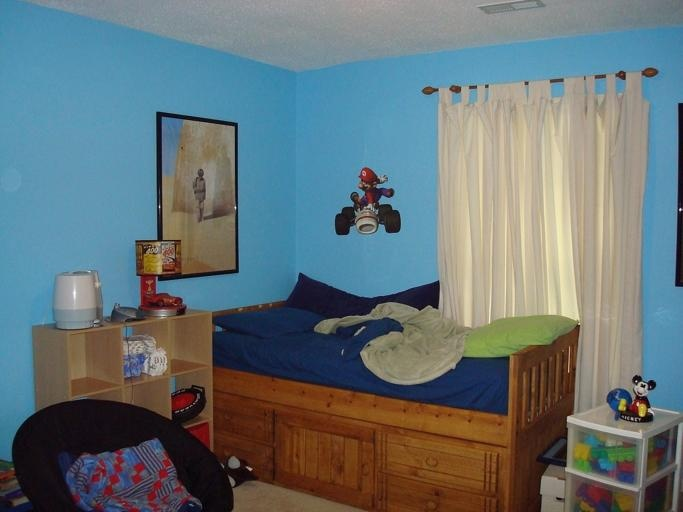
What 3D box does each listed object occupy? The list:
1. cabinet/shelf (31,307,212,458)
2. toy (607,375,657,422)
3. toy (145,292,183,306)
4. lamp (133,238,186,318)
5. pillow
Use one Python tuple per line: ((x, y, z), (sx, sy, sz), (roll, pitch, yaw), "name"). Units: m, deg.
((-1.345, 0.752, 3.551), (0.305, 0.860, 0.962), (2, 4, 39), "cabinet/shelf")
((1.672, 0.814, 3.465), (0.271, 0.269, 0.222), (1, -1, 14), "toy")
((-1.167, 0.267, 3.911), (0.140, 0.052, 0.108), (3, 0, 15), "toy")
((-1.204, 0.138, 3.925), (0.429, 0.581, 0.414), (-2, 4, -32), "lamp")
((1.106, 0.509, 3.829), (0.561, 0.216, 0.676), (1, 5, 34), "pillow")
